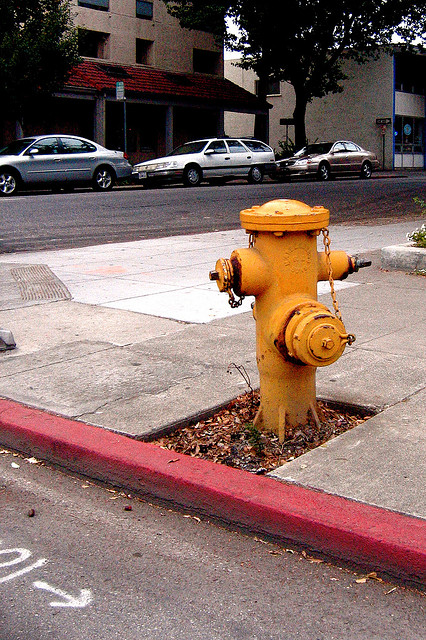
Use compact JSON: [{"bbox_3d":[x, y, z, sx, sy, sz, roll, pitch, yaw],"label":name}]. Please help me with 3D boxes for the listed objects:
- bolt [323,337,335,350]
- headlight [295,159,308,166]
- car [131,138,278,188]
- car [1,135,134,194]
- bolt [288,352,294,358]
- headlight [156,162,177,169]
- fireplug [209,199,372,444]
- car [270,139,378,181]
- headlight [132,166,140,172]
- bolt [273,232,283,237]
[{"bbox_3d":[0.487,0.098,2.794,0.027,0.035,0.045,32,4,-3],"label":"bolt"},{"bbox_3d":[3.720,-6.588,27.543,0.471,0.196,0.219,4,15,21],"label":"headlight"},{"bbox_3d":[-0.130,-5.940,24.801,5.358,1.696,1.193,-11,17,-34],"label":"car"},{"bbox_3d":[-4.762,-4.930,20.952,4.220,1.819,0.696,-12,17,-36],"label":"car"},{"bbox_3d":[0.344,0.157,2.890,0.017,0.029,0.017,-2,-1,12],"label":"bolt"},{"bbox_3d":[-1.645,-5.483,23.390,0.698,0.207,0.189,2,15,13],"label":"headlight"},{"bbox_3d":[0.345,0.022,3.047,0.602,1.115,0.430,7,17,33],"label":"fireplug"},{"bbox_3d":[4.873,-6.984,28.961,5.214,1.626,1.734,-15,19,-42],"label":"car"},{"bbox_3d":[-2.803,-5.495,24.021,0.199,0.189,0.148,-3,13,-16],"label":"headlight"},{"bbox_3d":[0.287,-0.374,2.872,0.030,0.021,0.016,2,3,6],"label":"bolt"}]
